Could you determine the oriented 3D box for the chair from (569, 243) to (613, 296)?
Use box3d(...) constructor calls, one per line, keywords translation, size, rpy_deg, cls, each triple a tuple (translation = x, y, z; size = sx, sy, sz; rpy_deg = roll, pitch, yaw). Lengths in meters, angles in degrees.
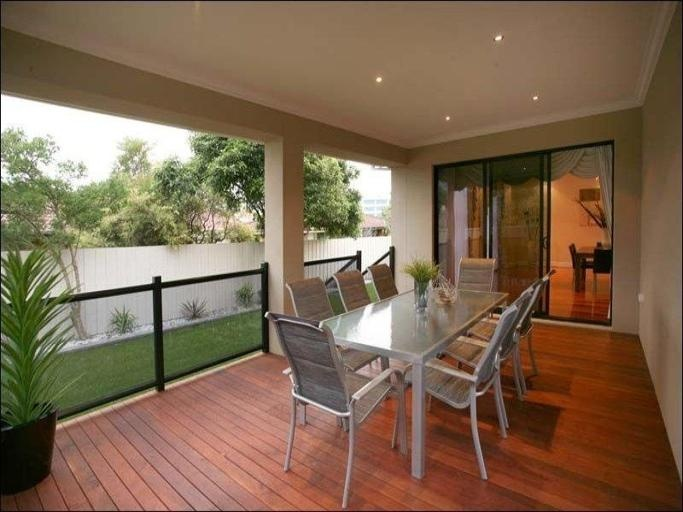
box3d(translation=(4.244, 0.245, 7.739), size=(0.544, 0.830, 1.389), rpy_deg=(-1, 4, 26), cls="chair")
